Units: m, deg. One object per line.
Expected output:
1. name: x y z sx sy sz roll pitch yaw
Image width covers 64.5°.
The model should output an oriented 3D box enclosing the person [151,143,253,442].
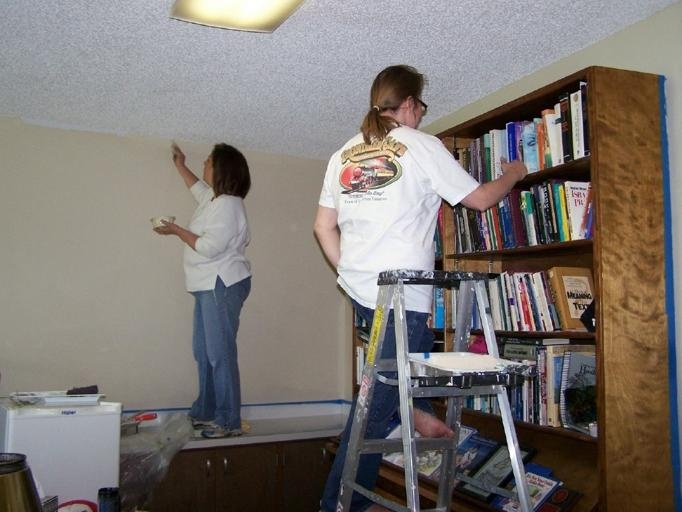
1. person: -0.998 0.172 4.040 0.688 2.181 0.493 -4 -9 24
